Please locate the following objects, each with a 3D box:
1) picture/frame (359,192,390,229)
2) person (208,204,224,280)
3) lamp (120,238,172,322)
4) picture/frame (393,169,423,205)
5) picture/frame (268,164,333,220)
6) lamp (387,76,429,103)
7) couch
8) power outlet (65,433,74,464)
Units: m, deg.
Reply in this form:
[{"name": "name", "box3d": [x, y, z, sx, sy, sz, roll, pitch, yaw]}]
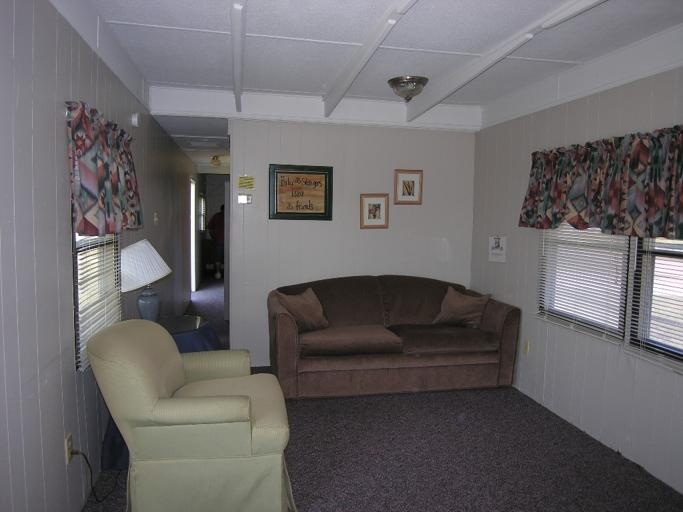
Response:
[{"name": "picture/frame", "box3d": [0.357, -0.524, 5.425, 0.355, 0.469, 0.041, 1, 0, -16]}, {"name": "person", "box3d": [-2.810, -0.230, 10.626, 0.325, 1.692, 1.445, -2, 12, -16]}, {"name": "lamp", "box3d": [-1.575, 0.214, 3.792, 0.365, 0.695, 0.366, -5, 12, -27]}, {"name": "picture/frame", "box3d": [0.753, -0.802, 5.481, 0.345, 0.445, 0.041, 2, 0, -13]}, {"name": "picture/frame", "box3d": [-0.489, -0.717, 5.220, 0.540, 0.544, 0.060, 1, 0, -15]}, {"name": "lamp", "box3d": [0.601, -1.540, 4.305, 0.232, 0.211, 0.297, -10, 16, -43]}, {"name": "couch", "box3d": [0.507, 0.828, 4.839, 2.348, 0.787, 0.874, 0, 11, -9]}, {"name": "power outlet", "box3d": [-1.635, 1.148, 2.839, 0.022, 0.177, 0.122, -2, 11, -15]}]
